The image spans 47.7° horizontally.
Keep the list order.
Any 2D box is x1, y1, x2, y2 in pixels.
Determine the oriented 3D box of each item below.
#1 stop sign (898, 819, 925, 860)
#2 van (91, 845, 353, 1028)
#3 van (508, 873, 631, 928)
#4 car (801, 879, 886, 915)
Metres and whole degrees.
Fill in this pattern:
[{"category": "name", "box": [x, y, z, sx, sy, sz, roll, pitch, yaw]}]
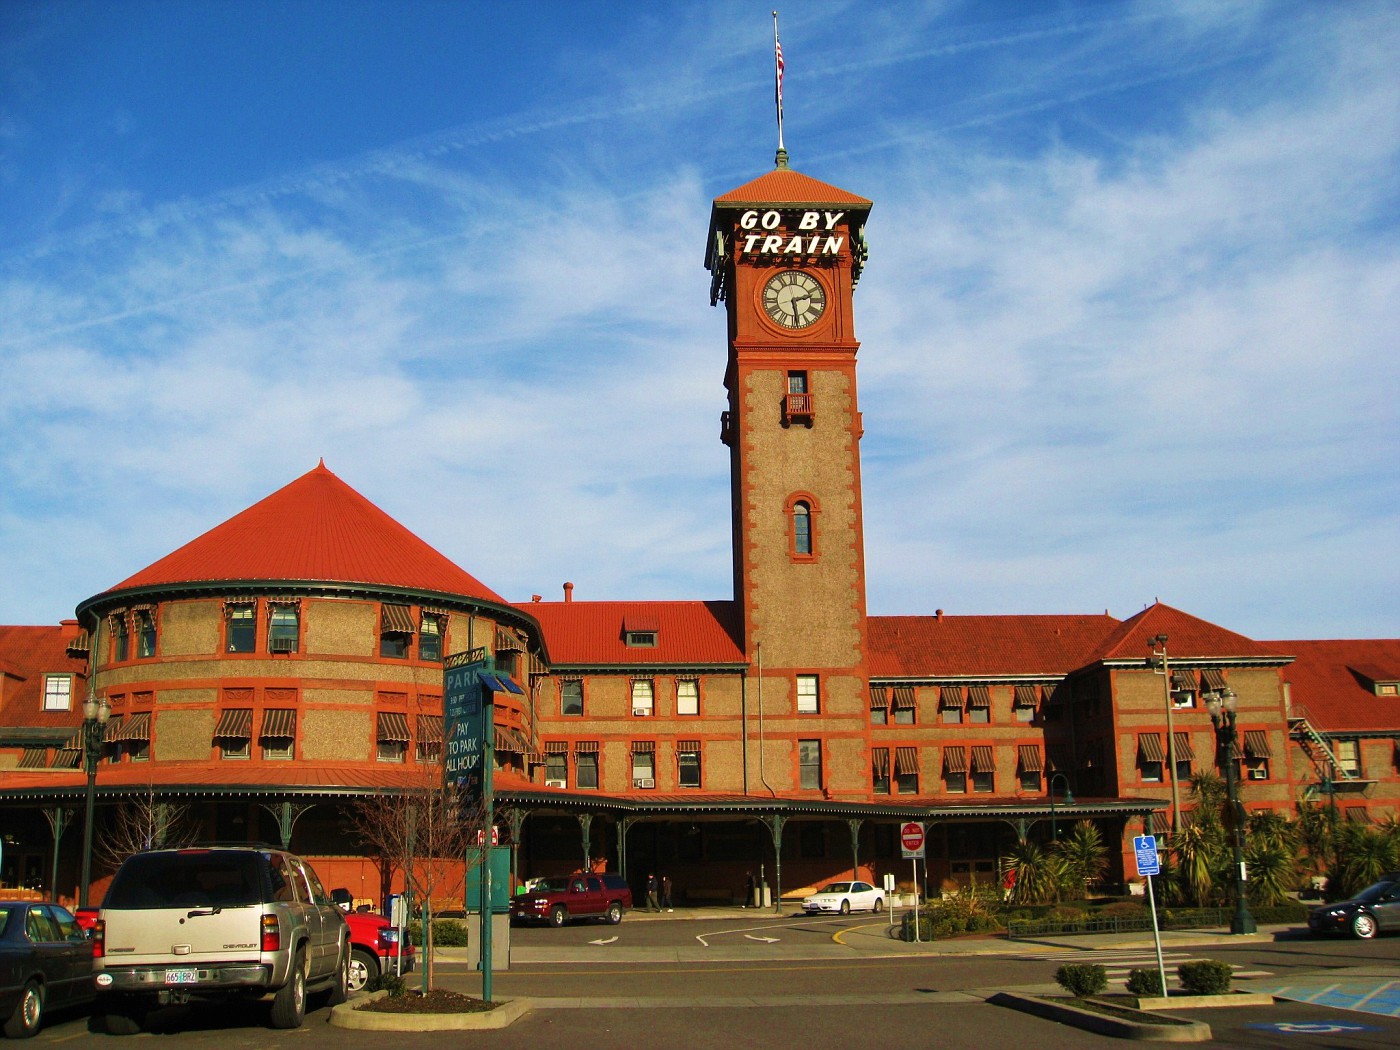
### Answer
[{"category": "stop sign", "box": [6.236, 9.288, 46.557, 0.614, 1.026, 0.880, -4, -18, 1]}, {"category": "van", "box": [-8.552, 7.531, 30.074, 2.617, 1.967, 4.736, -2, -8, 4]}, {"category": "van", "box": [-4.670, 13.316, 55.787, 1.783, 1.150, 3.361, -14, -25, 35]}, {"category": "car", "box": [5.887, 15.081, 63.346, 3.224, 0.939, 1.354, 17, -26, -42]}]
